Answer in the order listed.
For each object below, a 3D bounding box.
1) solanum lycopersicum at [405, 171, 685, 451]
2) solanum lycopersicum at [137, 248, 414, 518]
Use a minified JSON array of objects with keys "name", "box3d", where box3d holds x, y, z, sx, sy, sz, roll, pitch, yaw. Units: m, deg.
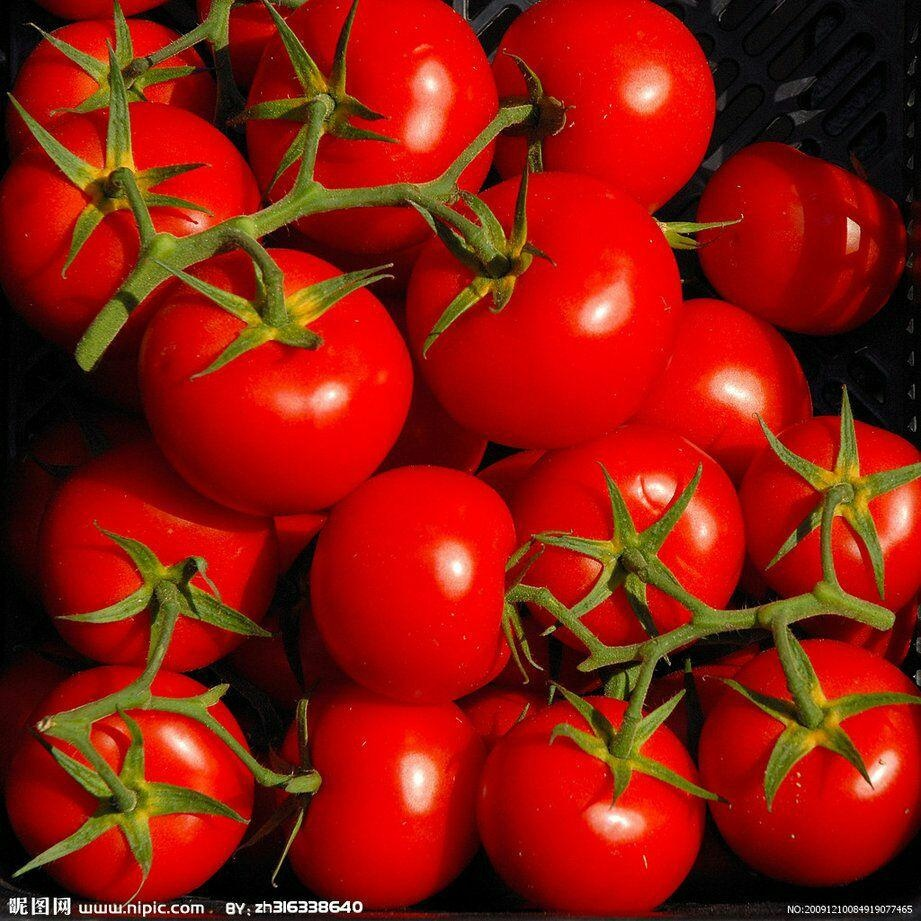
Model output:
[{"name":"solanum lycopersicum","box3d":[0.054,-0.067,0.829,0.177,0.163,0.189,22,63,-63]},{"name":"solanum lycopersicum","box3d":[-0.133,-0.027,0.809,0.162,0.176,0.194,-16,92,-11]}]
